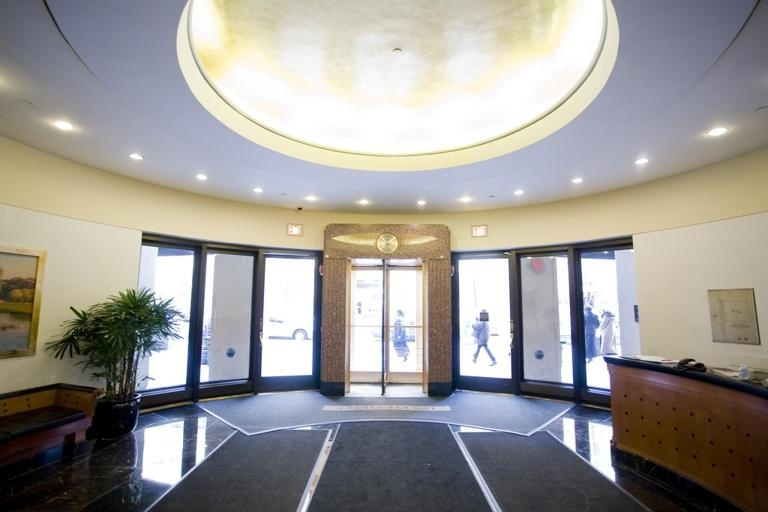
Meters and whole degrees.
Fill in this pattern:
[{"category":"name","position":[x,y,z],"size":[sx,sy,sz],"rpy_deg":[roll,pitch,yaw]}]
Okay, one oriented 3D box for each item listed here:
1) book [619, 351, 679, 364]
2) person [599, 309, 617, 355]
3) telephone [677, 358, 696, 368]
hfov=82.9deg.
[{"category":"book","position":[3.907,1.526,6.412],"size":[0.612,0.067,0.477],"rpy_deg":[0,6,-1]},{"category":"person","position":[4.450,1.506,8.602],"size":[0.308,0.846,0.175],"rpy_deg":[3,7,25]},{"category":"telephone","position":[4.151,1.466,5.936],"size":[0.180,0.060,0.184],"rpy_deg":[-4,-4,4]}]
